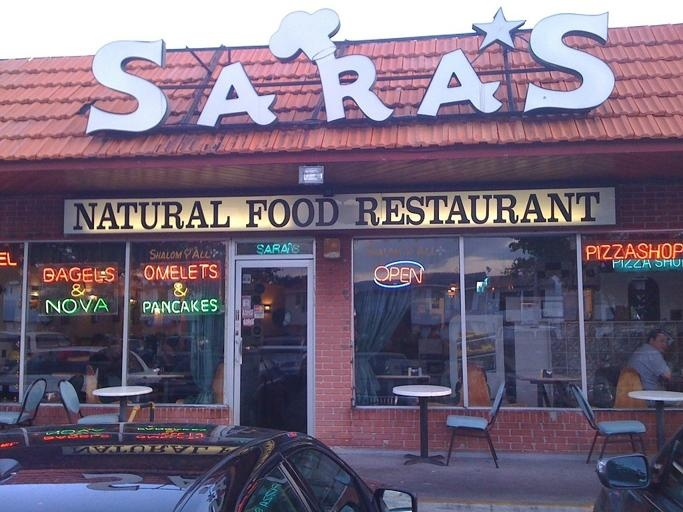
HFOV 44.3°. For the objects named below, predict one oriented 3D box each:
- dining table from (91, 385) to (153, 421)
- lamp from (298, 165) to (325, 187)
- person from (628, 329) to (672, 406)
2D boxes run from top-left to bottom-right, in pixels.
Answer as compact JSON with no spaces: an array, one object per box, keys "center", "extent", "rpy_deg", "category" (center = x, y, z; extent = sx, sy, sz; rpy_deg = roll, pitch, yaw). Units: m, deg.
[{"center":[-3.215,2.121,12.482],"extent":[0.712,0.557,0.750],"rpy_deg":[-2,-4,32],"category":"dining table"},{"center":[-0.423,-1.181,11.937],"extent":[0.367,0.267,0.338],"rpy_deg":[4,4,-5],"category":"lamp"},{"center":[4.741,1.823,12.773],"extent":[0.603,1.339,0.609],"rpy_deg":[-13,12,-26],"category":"person"}]
